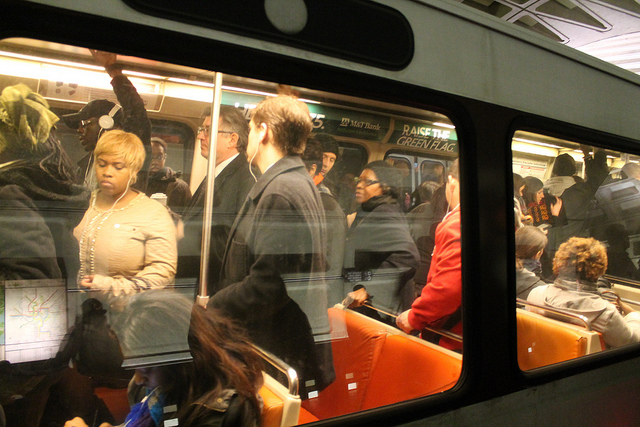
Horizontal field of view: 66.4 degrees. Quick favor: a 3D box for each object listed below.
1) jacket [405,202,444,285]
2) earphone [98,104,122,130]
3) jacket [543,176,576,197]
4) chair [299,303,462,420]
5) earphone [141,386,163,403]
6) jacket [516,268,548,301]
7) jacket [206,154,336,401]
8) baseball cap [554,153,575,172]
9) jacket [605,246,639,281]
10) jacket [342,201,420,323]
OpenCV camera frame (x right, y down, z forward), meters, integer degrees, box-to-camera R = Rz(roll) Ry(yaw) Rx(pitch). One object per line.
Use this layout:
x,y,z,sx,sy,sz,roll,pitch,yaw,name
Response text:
0.498,0.158,2.481,0.184,0.392,0.177,-2,26,-1,jacket
-0.824,-0.377,1.901,0.033,0.078,0.082,35,-29,-7,earphone
1.455,-0.175,2.980,0.148,0.059,0.170,-14,9,-7,jacket
0.289,0.744,2.471,0.775,0.517,0.532,11,14,42,chair
-0.692,0.728,1.989,0.048,0.062,0.058,42,-17,-9,earphone
1.220,0.401,2.833,0.214,0.159,0.114,7,-15,-23,jacket
-0.252,0.260,2.424,0.660,1.045,0.558,-3,14,-17,jacket
1.480,-0.316,3.033,0.127,0.116,0.120,-2,8,-29,baseball cap
2.160,0.353,3.481,0.487,0.239,0.045,4,-1,-38,jacket
0.308,0.241,2.395,0.429,0.449,0.110,5,-2,-36,jacket
